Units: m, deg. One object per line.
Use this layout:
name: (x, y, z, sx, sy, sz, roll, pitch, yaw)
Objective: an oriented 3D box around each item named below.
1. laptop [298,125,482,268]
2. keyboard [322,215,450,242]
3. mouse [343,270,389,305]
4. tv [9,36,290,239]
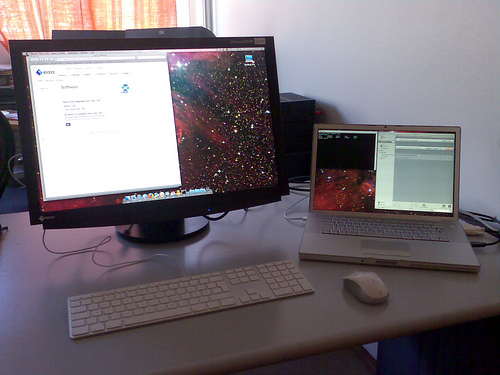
laptop: (0.389, 0.013, 1.219, 0.505, 0.322, 0.399, 2, 28, 7)
keyboard: (0.387, 0.117, 1.189, 0.350, 0.038, 0.093, 0, 17, 8)
mouse: (0.276, 0.236, 1.008, 0.087, 0.054, 0.120, -9, 18, -22)
tv: (-0.282, -0.143, 1.114, 0.555, 0.418, 0.163, -7, 26, -17)
